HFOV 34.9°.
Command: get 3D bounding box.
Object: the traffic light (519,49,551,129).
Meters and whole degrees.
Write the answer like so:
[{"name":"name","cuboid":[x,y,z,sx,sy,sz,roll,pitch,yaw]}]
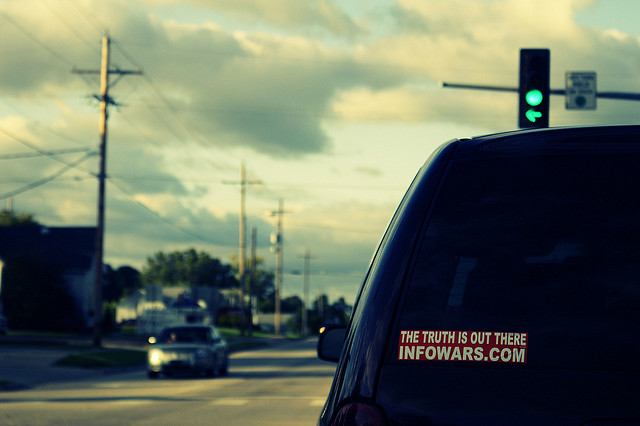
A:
[{"name":"traffic light","cuboid":[3.385,-1.970,15.951,0.471,1.254,0.562,2,-8,10]}]
